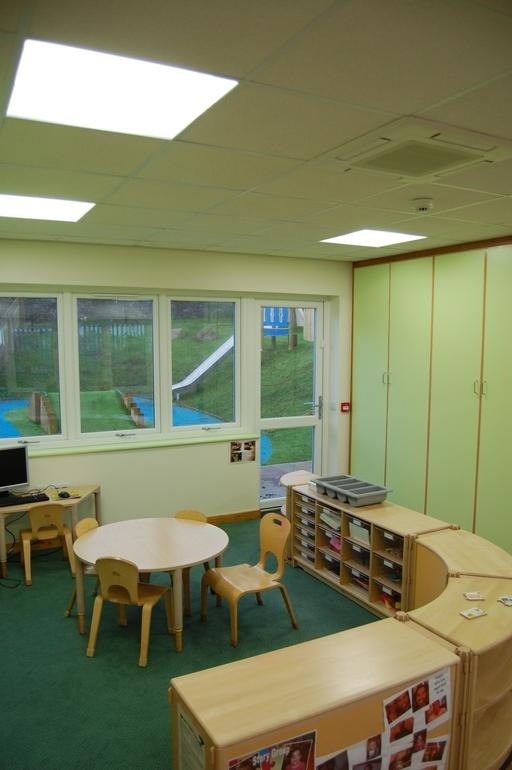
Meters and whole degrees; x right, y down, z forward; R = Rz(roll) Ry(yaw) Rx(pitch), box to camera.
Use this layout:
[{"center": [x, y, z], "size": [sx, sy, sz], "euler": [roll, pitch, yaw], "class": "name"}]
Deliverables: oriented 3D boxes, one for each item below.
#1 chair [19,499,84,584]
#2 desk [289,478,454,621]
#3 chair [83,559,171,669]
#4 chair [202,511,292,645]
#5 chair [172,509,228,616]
[{"center": [-1.760, 1.245, 4.674], "size": [0.518, 0.672, 0.491], "euler": [-1, 7, -8], "class": "chair"}, {"center": [0.786, 1.259, 4.289], "size": [0.420, 0.683, 1.500], "euler": [-3, 4, -27], "class": "desk"}, {"center": [-0.780, 1.338, 3.499], "size": [0.395, 0.630, 0.478], "euler": [0, 2, 14], "class": "chair"}, {"center": [-0.044, 1.290, 3.815], "size": [0.585, 0.728, 0.552], "euler": [0, 4, -25], "class": "chair"}, {"center": [-0.422, 1.337, 4.224], "size": [0.455, 0.620, 0.431], "euler": [-13, 18, -34], "class": "chair"}]
